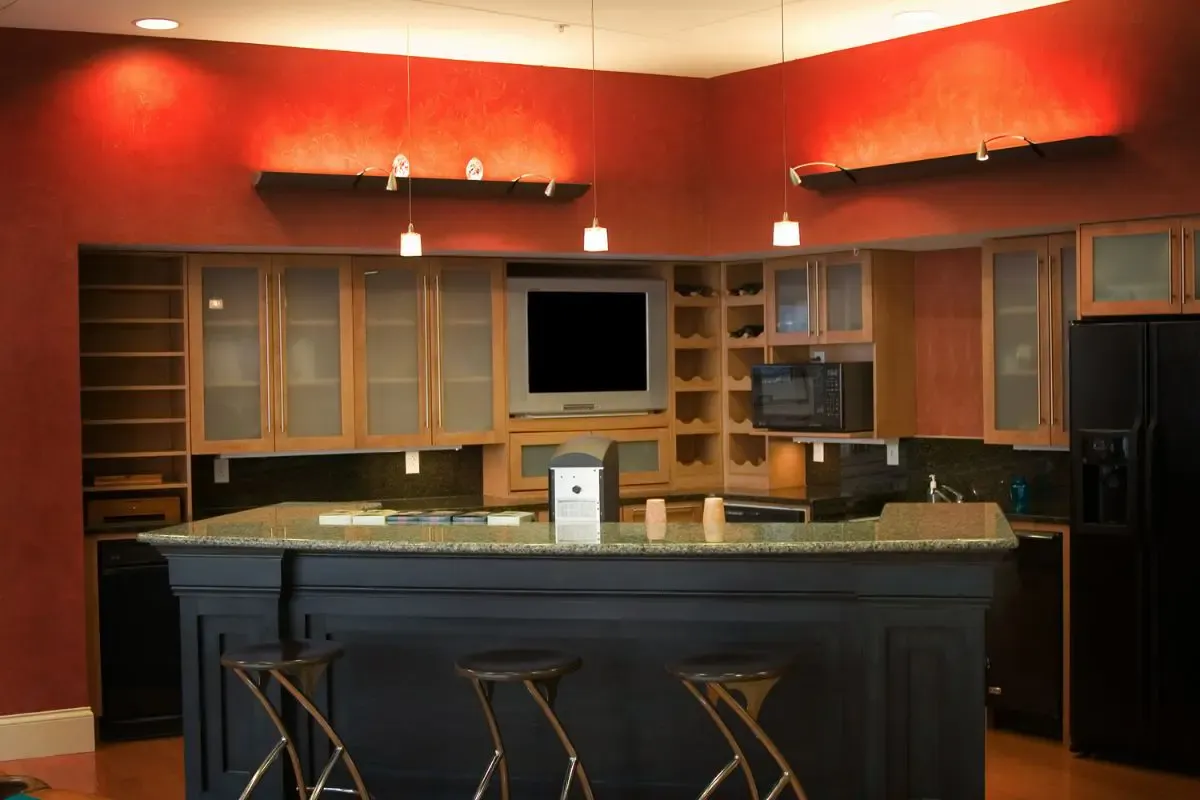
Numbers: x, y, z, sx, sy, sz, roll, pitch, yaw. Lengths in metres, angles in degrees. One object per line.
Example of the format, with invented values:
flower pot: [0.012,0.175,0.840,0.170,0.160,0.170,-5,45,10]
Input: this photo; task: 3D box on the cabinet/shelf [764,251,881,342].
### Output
cabinet/shelf: [1.579,-0.699,7.737,0.822,0.643,0.312,0,2,41]

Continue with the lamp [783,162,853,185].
lamp: [1.396,-1.474,7.245,0.303,0.086,0.290,0,-6,-9]

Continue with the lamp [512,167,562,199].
lamp: [-0.429,-1.445,7.283,0.284,0.188,0.444,-3,1,-3]

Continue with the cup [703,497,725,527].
cup: [0.570,0.552,5.547,0.147,0.151,0.141,1,-6,0]

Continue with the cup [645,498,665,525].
cup: [0.289,0.563,5.705,0.145,0.127,0.140,0,-1,0]

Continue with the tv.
tv: [0.061,-0.360,8.113,1.316,1.006,0.689,1,1,27]

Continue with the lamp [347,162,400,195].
lamp: [-1.401,-1.416,6.982,0.340,0.181,0.393,-3,1,-12]

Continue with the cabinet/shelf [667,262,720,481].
cabinet/shelf: [0.687,-0.202,8.159,0.431,1.573,0.371,-3,0,-9]

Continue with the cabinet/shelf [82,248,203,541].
cabinet/shelf: [-2.981,-0.090,7.091,0.656,1.911,0.624,-3,0,-25]

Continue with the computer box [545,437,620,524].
computer box: [-0.062,0.497,6.228,0.401,0.576,0.407,-2,3,37]

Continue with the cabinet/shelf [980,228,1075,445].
cabinet/shelf: [2.849,-0.394,7.080,0.819,1.319,0.436,-1,15,19]

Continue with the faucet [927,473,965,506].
faucet: [2.333,0.587,7.552,0.287,0.183,0.124,-2,1,42]

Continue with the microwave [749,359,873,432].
microwave: [1.511,-0.031,7.818,0.470,0.470,0.812,-5,4,-43]

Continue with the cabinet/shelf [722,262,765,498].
cabinet/shelf: [1.083,-0.178,8.085,0.353,1.661,0.210,0,3,31]

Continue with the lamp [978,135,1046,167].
lamp: [2.400,-1.507,6.516,0.377,0.155,0.518,-2,1,20]
